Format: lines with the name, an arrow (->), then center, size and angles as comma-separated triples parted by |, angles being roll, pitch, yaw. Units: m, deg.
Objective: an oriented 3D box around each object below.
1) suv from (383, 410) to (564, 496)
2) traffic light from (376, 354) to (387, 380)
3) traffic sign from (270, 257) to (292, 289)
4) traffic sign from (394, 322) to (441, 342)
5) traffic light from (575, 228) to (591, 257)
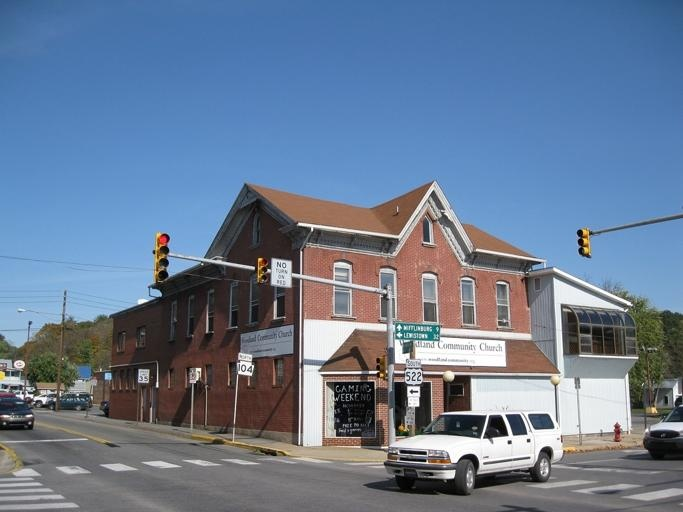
suv -> 4.350, 6.232, 22.050 | 4.829, 1.805, 2.644 | 15, -23, -39
traffic light -> 1.799, 4.856, 30.180 | 0.378, 0.999, 1.237 | -1, -15, 7
traffic sign -> -2.396, 0.613, 27.163 | 0.689, 1.140, 1.076 | -5, -15, 23
traffic sign -> 3.593, 3.450, 31.095 | 1.623, 0.990, 2.622 | -6, -17, 23
traffic light -> 9.250, -0.514, 26.048 | 0.481, 1.193, 1.513 | -4, -15, 20
